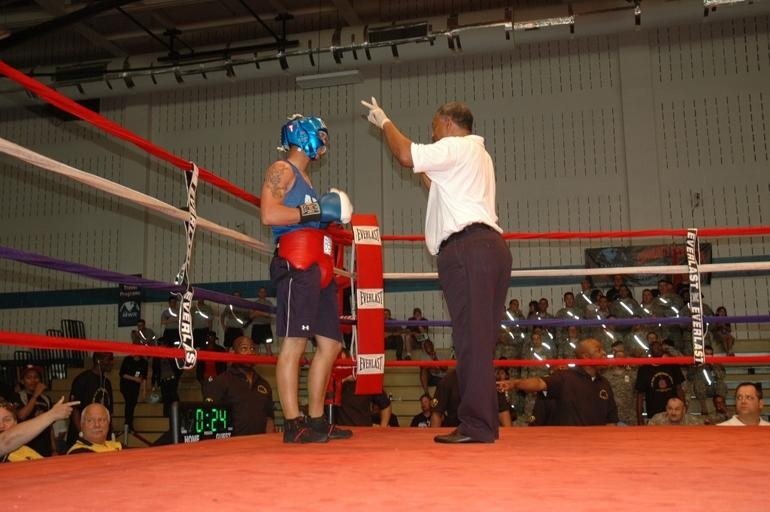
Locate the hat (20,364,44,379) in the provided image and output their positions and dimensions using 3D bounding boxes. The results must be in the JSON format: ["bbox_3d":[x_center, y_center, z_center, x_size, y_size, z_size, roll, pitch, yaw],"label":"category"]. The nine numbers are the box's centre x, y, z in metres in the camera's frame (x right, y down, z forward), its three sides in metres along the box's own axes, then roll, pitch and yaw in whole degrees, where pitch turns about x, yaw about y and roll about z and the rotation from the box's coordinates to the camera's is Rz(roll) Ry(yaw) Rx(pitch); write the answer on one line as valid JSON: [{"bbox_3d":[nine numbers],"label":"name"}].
[{"bbox_3d":[-4.807,1.569,11.417,0.398,0.193,0.559,5,-12,-22],"label":"hat"}]

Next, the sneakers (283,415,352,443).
[{"bbox_3d":[-0.643,1.641,7.972,0.639,0.249,0.259,1,-11,-9],"label":"sneakers"}]

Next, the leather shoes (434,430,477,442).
[{"bbox_3d":[0.638,1.672,7.766,0.261,0.109,0.159,9,-19,4],"label":"leather shoes"}]

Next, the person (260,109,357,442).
[{"bbox_3d":[-0.783,0.156,8.122,0.893,3.213,0.540,3,-11,-18],"label":"person"}]

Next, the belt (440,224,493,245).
[{"bbox_3d":[0.787,-0.218,7.892,0.491,0.171,0.083,-2,-11,7],"label":"belt"}]

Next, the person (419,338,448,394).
[{"bbox_3d":[0.720,1.681,12.733,0.436,0.863,0.483,-4,-7,-8],"label":"person"}]

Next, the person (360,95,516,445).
[{"bbox_3d":[0.669,0.265,7.830,1.026,2.884,0.445,0,-10,0],"label":"person"}]

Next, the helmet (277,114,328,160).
[{"bbox_3d":[-0.798,-1.189,8.344,0.449,0.445,0.374,6,-4,-5],"label":"helmet"}]
